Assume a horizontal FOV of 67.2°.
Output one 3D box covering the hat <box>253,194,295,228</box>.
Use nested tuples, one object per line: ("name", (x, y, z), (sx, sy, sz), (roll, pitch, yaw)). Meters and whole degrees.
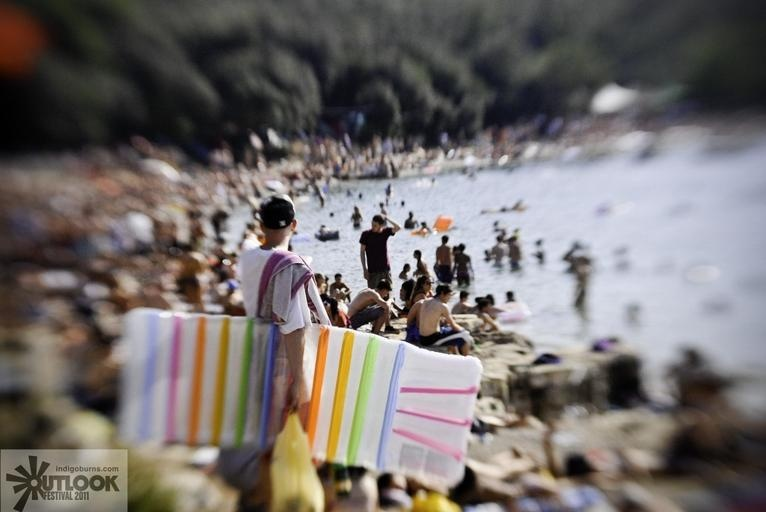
("hat", (-0.873, -0.399, 4.986), (0.324, 0.269, 0.497), (5, 18, -6))

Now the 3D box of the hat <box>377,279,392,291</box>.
("hat", (0.005, 0.313, 6.255), (0.102, 0.127, 0.123), (3, 21, 1))
